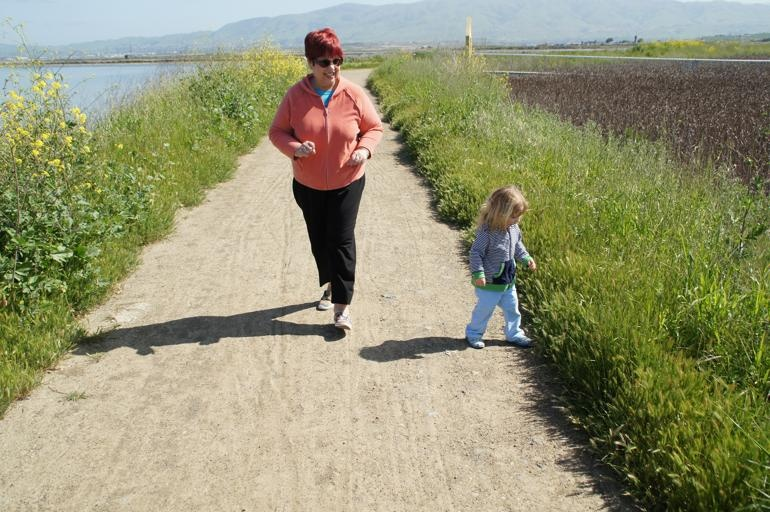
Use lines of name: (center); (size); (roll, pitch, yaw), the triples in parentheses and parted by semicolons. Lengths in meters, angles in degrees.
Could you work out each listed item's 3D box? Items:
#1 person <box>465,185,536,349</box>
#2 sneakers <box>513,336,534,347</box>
person: (1.136, 0.139, 5.901); (0.658, 1.565, 0.667); (-1, 27, 10)
sneakers: (1.436, 0.899, 6.012); (0.159, 0.072, 0.110); (9, 11, 17)
